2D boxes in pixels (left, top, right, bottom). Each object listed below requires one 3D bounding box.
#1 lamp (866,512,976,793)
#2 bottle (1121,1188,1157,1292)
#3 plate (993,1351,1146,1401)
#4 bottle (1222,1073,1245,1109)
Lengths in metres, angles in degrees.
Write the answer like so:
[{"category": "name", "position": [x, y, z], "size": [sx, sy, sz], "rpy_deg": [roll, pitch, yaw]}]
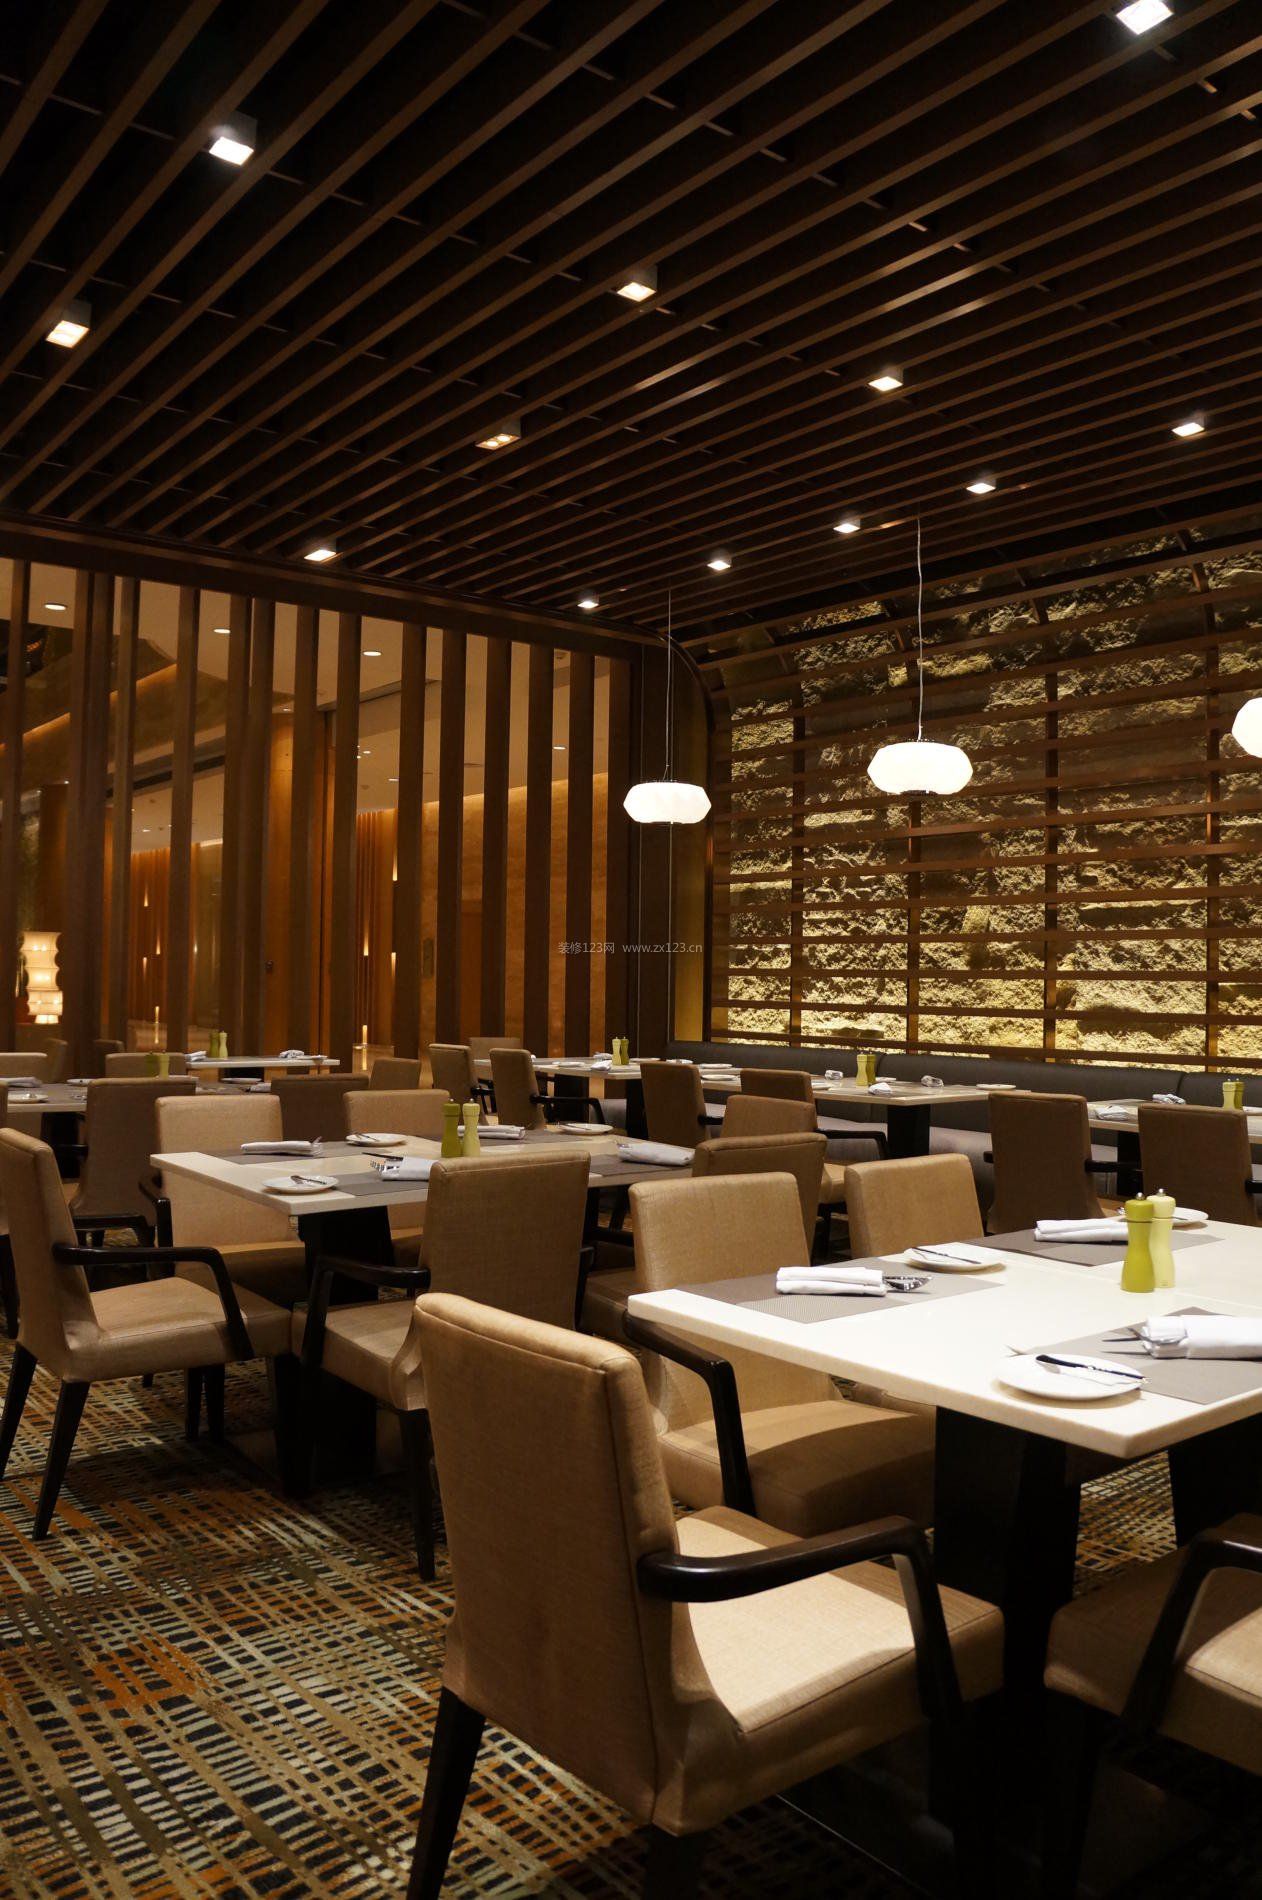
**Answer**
[{"category": "lamp", "position": [1.742, -1.634, 7.876], "size": [0.620, 1.762, 2.268], "rpy_deg": [-1, -5, 11]}, {"category": "bottle", "position": [0.819, 0.475, 2.135], "size": [0.051, 0.153, 0.158], "rpy_deg": [-2, -5, 21]}, {"category": "plate", "position": [0.493, 0.484, 1.491], "size": [0.145, 0.024, 0.190], "rpy_deg": [-2, -5, 27]}, {"category": "bottle", "position": [2.575, 0.600, 5.668], "size": [0.068, 0.224, 0.169], "rpy_deg": [-3, -6, 28]}]
